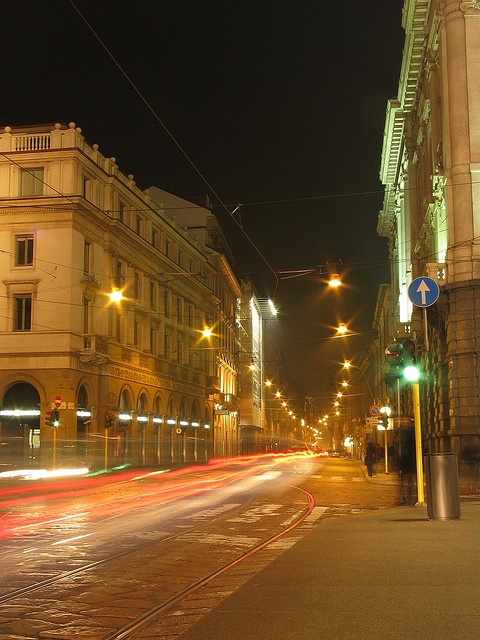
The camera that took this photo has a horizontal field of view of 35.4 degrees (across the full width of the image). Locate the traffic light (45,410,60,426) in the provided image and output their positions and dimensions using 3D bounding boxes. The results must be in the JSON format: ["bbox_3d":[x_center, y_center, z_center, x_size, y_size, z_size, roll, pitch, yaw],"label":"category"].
[{"bbox_3d":[-7.998,4.206,32.094,0.446,0.653,0.850,-1,-14,-8],"label":"traffic light"}]

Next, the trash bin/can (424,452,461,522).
[{"bbox_3d":[3.424,2.838,12.741,0.541,1.104,0.925,-5,-13,13],"label":"trash bin/can"}]

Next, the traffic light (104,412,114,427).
[{"bbox_3d":[-6.636,5.042,37.954,0.307,0.723,0.858,0,-13,-9],"label":"traffic light"}]
